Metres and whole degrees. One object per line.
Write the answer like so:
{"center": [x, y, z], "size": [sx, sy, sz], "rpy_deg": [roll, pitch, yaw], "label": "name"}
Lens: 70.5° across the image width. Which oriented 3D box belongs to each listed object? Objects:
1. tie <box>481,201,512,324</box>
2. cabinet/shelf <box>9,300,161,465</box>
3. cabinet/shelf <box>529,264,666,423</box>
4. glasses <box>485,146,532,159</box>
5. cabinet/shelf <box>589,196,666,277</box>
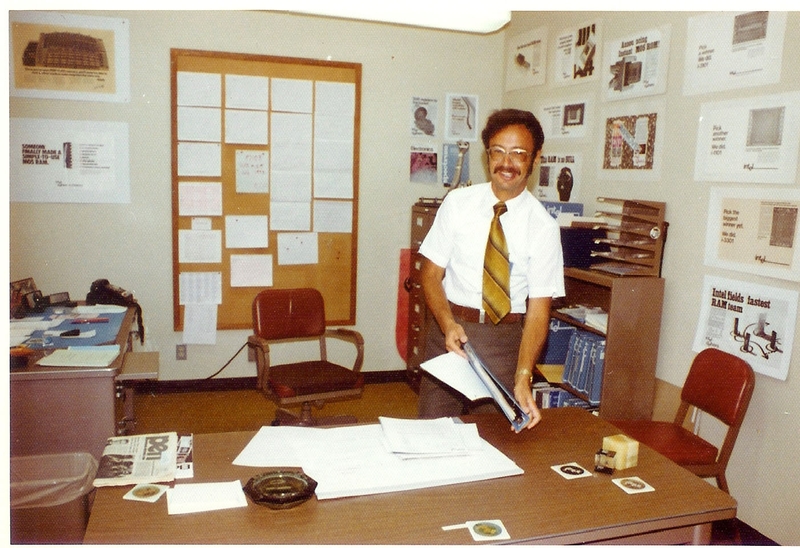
{"center": [0.444, -0.052, 2.585], "size": [0.127, 0.534, 0.193], "rpy_deg": [1, 13, 8], "label": "tie"}
{"center": [-1.680, 0.614, 3.005], "size": [0.515, 0.432, 0.865], "rpy_deg": [-1, 14, -14], "label": "cabinet/shelf"}
{"center": [1.195, 0.422, 3.334], "size": [0.353, 0.974, 1.012], "rpy_deg": [2, 0, -2], "label": "cabinet/shelf"}
{"center": [0.484, -0.539, 2.494], "size": [0.182, 0.044, 0.055], "rpy_deg": [2, 12, 11], "label": "glasses"}
{"center": [1.440, -0.240, 3.764], "size": [0.507, 0.672, 0.517], "rpy_deg": [-2, 4, -10], "label": "cabinet/shelf"}
